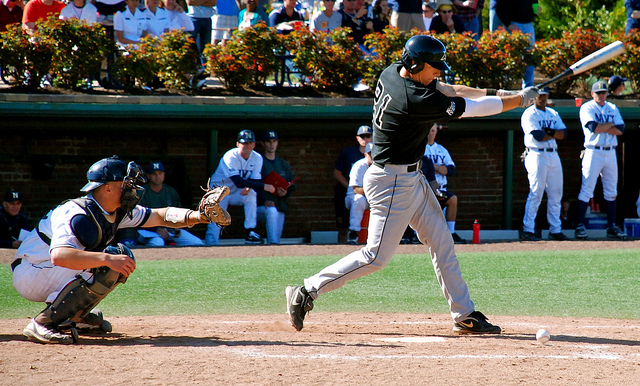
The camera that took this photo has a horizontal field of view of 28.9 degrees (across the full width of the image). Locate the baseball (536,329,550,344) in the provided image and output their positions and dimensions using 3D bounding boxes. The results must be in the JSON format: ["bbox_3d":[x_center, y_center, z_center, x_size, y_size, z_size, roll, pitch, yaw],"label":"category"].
[{"bbox_3d":[2.913,1.829,16.189,0.163,0.173,0.156,25,-15,-31],"label":"baseball"}]

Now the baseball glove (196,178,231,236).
[{"bbox_3d":[-1.375,0.156,16.279,0.317,0.592,0.324,1,-1,-9],"label":"baseball glove"}]

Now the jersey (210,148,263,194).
[{"bbox_3d":[-1.405,-0.399,20.897,0.867,0.764,0.364,1,-2,-6],"label":"jersey"}]

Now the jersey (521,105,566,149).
[{"bbox_3d":[3.781,-1.140,20.986,0.694,0.742,0.392,1,-2,6],"label":"jersey"}]

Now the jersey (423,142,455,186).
[{"bbox_3d":[2.080,-0.562,21.420,0.453,0.795,0.478,0,2,6],"label":"jersey"}]

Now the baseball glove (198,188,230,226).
[{"bbox_3d":[-1.370,0.143,16.281,0.376,0.475,0.238,23,12,-10],"label":"baseball glove"}]

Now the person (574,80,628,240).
[{"bbox_3d":[4.835,-0.596,21.252,0.866,2.721,0.785,2,-2,-8],"label":"person"}]

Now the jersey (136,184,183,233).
[{"bbox_3d":[-2.399,0.195,18.336,0.832,0.627,0.287,-1,-10,-24],"label":"jersey"}]

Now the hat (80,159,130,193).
[{"bbox_3d":[-2.786,-0.232,16.184,0.578,0.307,0.376,-13,3,-14],"label":"hat"}]

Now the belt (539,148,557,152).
[{"bbox_3d":[3.858,-0.761,20.931,0.318,0.057,0.090,2,-3,-31],"label":"belt"}]

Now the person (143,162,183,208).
[{"bbox_3d":[-2.615,-0.145,20.653,0.761,0.913,0.309,-6,-3,-23],"label":"person"}]

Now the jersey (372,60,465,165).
[{"bbox_3d":[1.243,-1.066,16.280,1.071,1.341,0.351,1,-2,-1],"label":"jersey"}]

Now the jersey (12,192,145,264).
[{"bbox_3d":[-3.265,0.476,16.687,1.564,1.170,1.013,2,0,7],"label":"jersey"}]

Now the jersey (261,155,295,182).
[{"bbox_3d":[-0.742,-0.441,21.267,0.508,0.355,0.129,4,-13,-23],"label":"jersey"}]

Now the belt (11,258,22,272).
[{"bbox_3d":[-4.001,0.902,16.334,0.100,0.143,0.035,53,12,33],"label":"belt"}]
